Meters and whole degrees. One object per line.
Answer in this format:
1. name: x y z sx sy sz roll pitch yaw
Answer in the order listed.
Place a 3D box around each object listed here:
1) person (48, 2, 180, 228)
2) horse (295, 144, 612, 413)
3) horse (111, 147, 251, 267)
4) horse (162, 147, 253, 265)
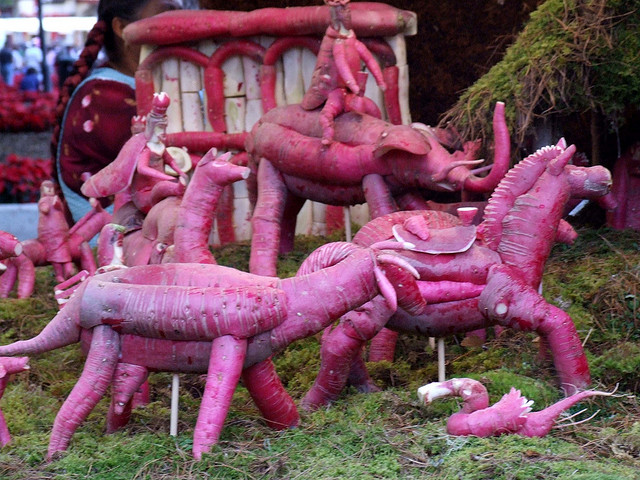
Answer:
1. person: -2.245 -1.277 8.090 1.059 2.278 0.576 -1 9 -10
2. horse: 0.926 0.229 4.772 1.846 1.571 0.568 -1 9 -8
3. horse: -0.957 -0.197 5.203 0.441 0.822 1.292 -5 10 -32
4. horse: -0.682 -0.202 4.866 0.490 0.709 0.209 1 9 3
